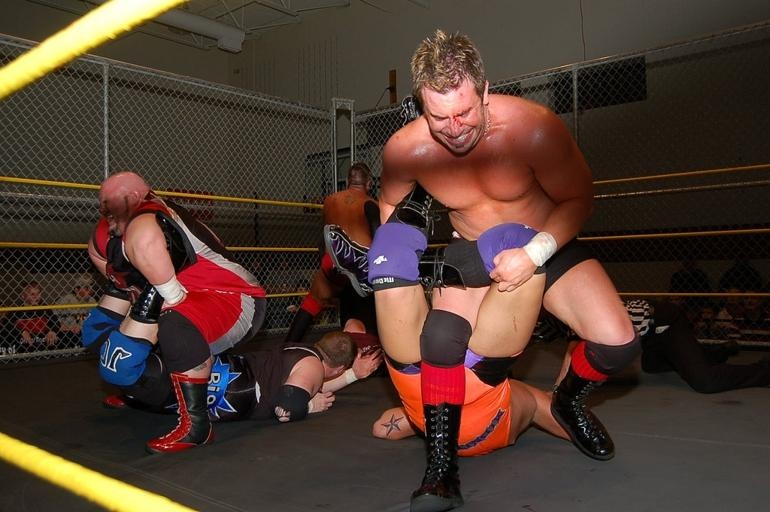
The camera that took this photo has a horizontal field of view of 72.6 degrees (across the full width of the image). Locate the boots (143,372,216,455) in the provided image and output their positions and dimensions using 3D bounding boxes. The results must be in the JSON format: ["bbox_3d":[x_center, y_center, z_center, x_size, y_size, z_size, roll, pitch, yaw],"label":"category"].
[{"bbox_3d":[-1.170,0.949,3.136,0.494,0.584,0.264,3,-2,-8],"label":"boots"}]

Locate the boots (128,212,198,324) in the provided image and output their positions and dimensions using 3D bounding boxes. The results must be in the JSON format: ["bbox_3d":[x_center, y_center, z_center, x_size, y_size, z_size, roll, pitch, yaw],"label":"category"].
[{"bbox_3d":[-1.363,0.093,3.209,0.239,0.576,0.592,4,6,-20],"label":"boots"}]
